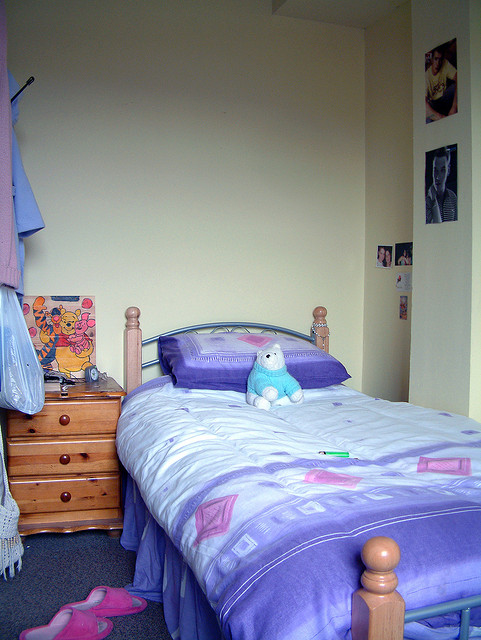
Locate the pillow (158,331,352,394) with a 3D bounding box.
[{"bbox_3d":[0.005,0.104,2.490,0.942,0.307,0.643,0,3,-16],"label":"pillow"}]

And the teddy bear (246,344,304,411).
[{"bbox_3d":[0.132,0.244,2.196,0.220,0.281,0.307,-2,12,-10],"label":"teddy bear"}]

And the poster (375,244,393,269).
[{"bbox_3d":[0.805,-0.363,2.900,0.015,0.162,0.140,4,2,-24],"label":"poster"}]
